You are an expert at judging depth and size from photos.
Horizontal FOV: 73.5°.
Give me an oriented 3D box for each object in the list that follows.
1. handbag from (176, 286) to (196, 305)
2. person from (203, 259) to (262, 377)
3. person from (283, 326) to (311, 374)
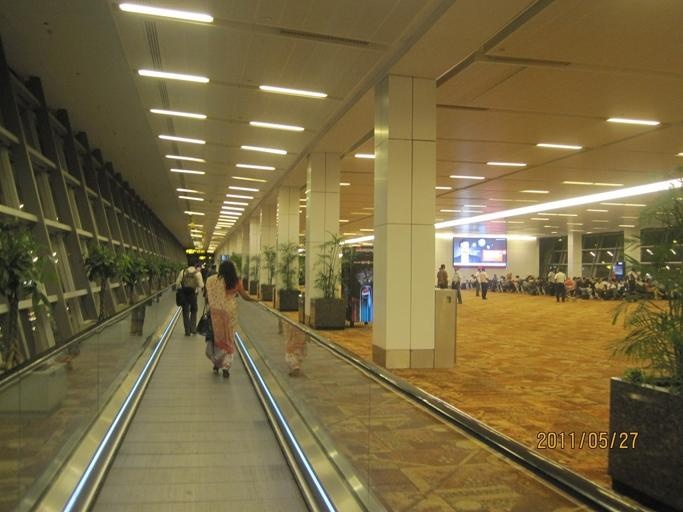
[{"bbox_3d":[-3.279,0.809,9.761,0.413,0.617,0.336,4,-4,-13],"label":"handbag"},{"bbox_3d":[-1.747,0.950,6.921,0.595,1.791,0.959,1,-2,-17],"label":"person"},{"bbox_3d":[-0.492,0.989,4.863,0.165,0.378,0.729,-1,-6,-17],"label":"person"}]
